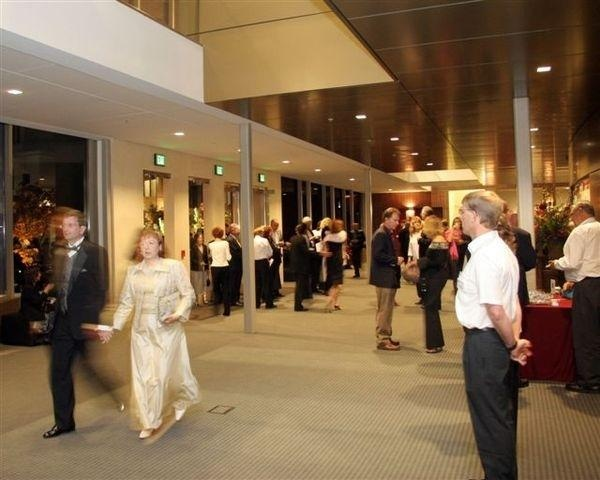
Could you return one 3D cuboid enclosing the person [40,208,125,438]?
[{"bbox_3d":[-2.065,0.735,4.249,0.587,2.033,0.435,-2,2,-24],"label":"person"}]

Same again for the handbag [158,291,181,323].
[{"bbox_3d":[-1.173,0.602,4.141,0.087,0.217,0.210,-1,-5,31],"label":"handbag"}]

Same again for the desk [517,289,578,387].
[{"bbox_3d":[2.827,1.104,5.274,0.766,0.817,0.767,-1,-26,17],"label":"desk"}]

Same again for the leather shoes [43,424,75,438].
[{"bbox_3d":[-2.188,1.727,4.239,0.281,0.123,0.092,8,-6,-31],"label":"leather shoes"}]

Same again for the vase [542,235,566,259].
[{"bbox_3d":[3.894,0.075,7.065,0.332,0.398,0.359,5,2,8],"label":"vase"}]

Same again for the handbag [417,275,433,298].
[{"bbox_3d":[1.798,0.682,6.696,0.128,0.348,0.439,-1,1,4],"label":"handbag"}]

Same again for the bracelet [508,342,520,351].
[{"bbox_3d":[1.267,0.628,2.747,0.064,0.054,0.044,-2,2,-39],"label":"bracelet"}]

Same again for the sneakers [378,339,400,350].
[{"bbox_3d":[1.319,1.551,6.929,0.388,0.184,0.131,-7,-6,31],"label":"sneakers"}]
